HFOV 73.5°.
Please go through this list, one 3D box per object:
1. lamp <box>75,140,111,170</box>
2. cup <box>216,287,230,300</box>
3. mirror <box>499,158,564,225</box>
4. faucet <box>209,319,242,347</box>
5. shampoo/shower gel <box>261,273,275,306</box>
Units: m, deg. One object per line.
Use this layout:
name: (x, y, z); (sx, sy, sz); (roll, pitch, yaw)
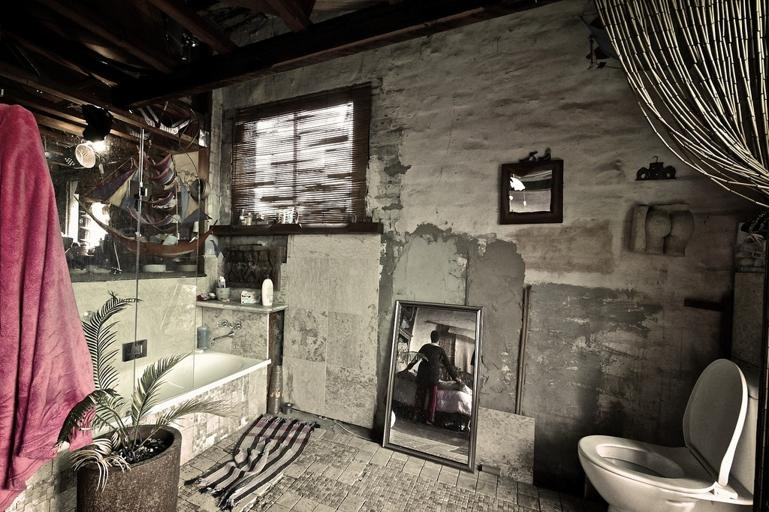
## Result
lamp: (-2.225, -0.766, 3.963); (0.141, 0.232, 0.223); (-11, -13, -14)
cup: (-1.664, 0.401, 5.286); (0.128, 0.124, 0.128); (-1, -5, 0)
mirror: (1.233, -0.525, 4.227); (0.578, 0.585, 0.050); (1, -1, 23)
faucet: (-1.605, 0.762, 5.168); (0.267, 0.094, 0.287); (2, 3, 13)
shampoo/shower gel: (-1.159, 0.352, 5.104); (0.123, 0.304, 0.236); (4, 0, -13)
